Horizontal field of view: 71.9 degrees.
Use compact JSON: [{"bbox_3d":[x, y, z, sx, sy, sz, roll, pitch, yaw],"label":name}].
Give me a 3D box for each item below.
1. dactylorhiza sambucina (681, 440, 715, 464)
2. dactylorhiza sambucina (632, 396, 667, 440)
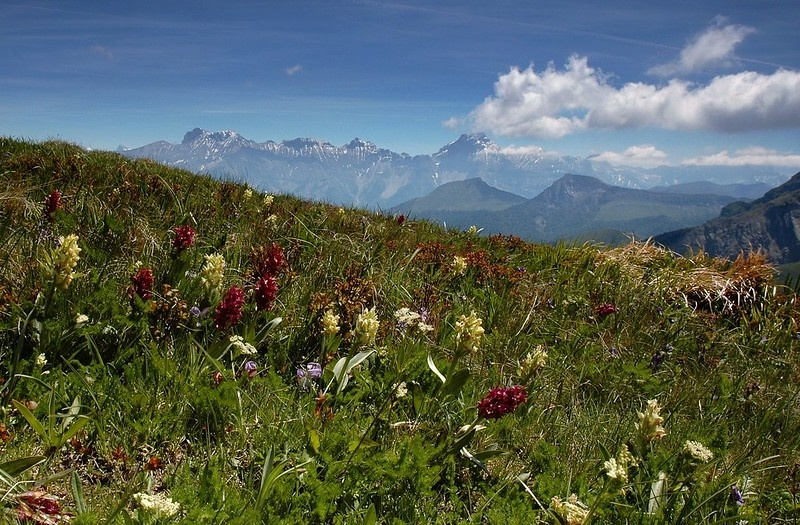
[{"bbox_3d":[2.349,1.498,4.356,0.187,0.107,0.178,-29,45,-13],"label":"dactylorhiza sambucina"},{"bbox_3d":[1.917,1.197,4.207,0.175,0.350,0.159,5,8,24],"label":"dactylorhiza sambucina"}]
